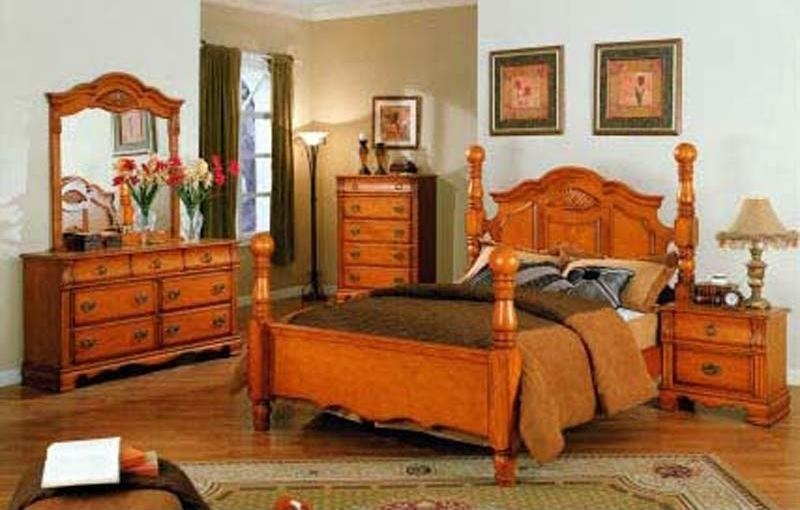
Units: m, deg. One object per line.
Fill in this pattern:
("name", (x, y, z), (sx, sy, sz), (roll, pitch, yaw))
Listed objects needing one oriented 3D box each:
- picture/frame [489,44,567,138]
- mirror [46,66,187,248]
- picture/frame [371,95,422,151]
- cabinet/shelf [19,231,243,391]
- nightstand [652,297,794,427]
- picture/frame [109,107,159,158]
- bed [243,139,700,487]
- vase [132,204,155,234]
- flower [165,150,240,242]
("picture/frame", (1.232, -1.555, 6.413), (0.945, 0.953, 0.082), (1, 4, 26))
("mirror", (-2.704, -0.902, 6.378), (0.140, 1.910, 1.782), (2, 5, 34))
("picture/frame", (-0.019, -1.723, 8.920), (0.764, 0.774, 0.061), (4, 9, 23))
("cabinet/shelf", (-2.460, 0.509, 6.028), (0.481, 0.825, 1.400), (1, 3, 39))
("nightstand", (2.499, 0.611, 5.603), (1.270, 1.142, 0.857), (1, 3, 34))
("picture/frame", (-2.590, -1.180, 6.562), (0.548, 0.672, 0.091), (-2, 2, -41))
("bed", (0.696, 0.199, 5.225), (2.273, 2.041, 3.017), (10, 14, 42))
("vase", (-2.478, -0.371, 6.672), (0.220, 0.340, 0.229), (0, 1, 9))
("flower", (-2.036, -0.531, 6.879), (0.677, 0.734, 0.703), (-4, -2, -15))
